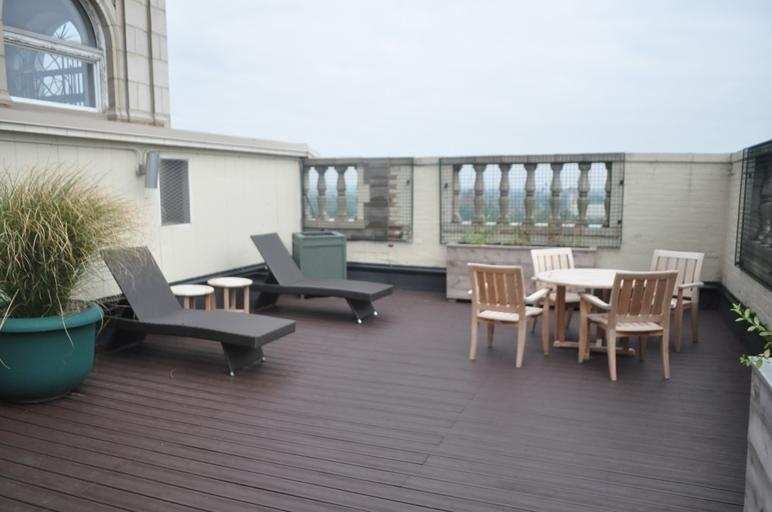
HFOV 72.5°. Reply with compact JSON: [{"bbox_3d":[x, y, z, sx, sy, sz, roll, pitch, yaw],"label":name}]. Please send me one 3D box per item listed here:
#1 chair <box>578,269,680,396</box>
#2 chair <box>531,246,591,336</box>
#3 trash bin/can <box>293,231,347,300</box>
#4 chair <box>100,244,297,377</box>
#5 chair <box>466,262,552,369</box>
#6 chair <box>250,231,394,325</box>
[{"bbox_3d":[2.940,0.779,6.405,0.864,1.252,0.901,-1,4,0],"label":"chair"},{"bbox_3d":[2.538,0.501,7.559,0.780,1.115,0.794,-2,6,-11],"label":"chair"},{"bbox_3d":[-1.153,0.183,10.241,1.224,0.877,1.211,10,-20,-38],"label":"trash bin/can"},{"bbox_3d":[-2.554,0.610,7.158,3.001,1.673,1.163,6,10,20],"label":"chair"},{"bbox_3d":[1.550,0.716,6.760,0.897,1.203,0.884,3,4,33],"label":"chair"},{"bbox_3d":[-1.109,0.312,8.708,2.295,1.227,0.926,4,7,20],"label":"chair"}]
